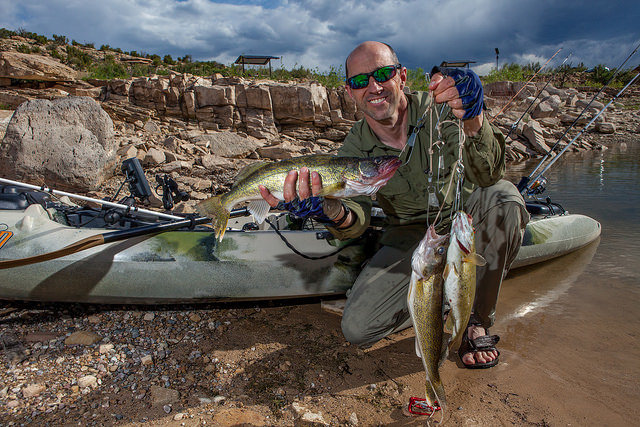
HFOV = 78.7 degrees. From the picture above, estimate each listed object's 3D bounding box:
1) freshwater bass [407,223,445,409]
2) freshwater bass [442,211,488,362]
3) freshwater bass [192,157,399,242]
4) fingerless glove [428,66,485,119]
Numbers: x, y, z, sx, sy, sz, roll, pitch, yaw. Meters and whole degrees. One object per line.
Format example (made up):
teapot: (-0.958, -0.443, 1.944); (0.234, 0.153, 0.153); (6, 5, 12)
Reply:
freshwater bass: (0.763, 0.769, 3.096); (0.373, 1.266, 0.370); (1, 1, 3)
freshwater bass: (1.102, 0.591, 3.073); (0.390, 1.175, 0.401); (-2, 4, -26)
freshwater bass: (-0.193, -0.230, 3.486); (1.911, 0.533, 0.547); (-8, -15, 8)
fingerless glove: (1.136, -0.967, 3.158); (0.455, 0.421, 0.240); (1, 18, 6)
